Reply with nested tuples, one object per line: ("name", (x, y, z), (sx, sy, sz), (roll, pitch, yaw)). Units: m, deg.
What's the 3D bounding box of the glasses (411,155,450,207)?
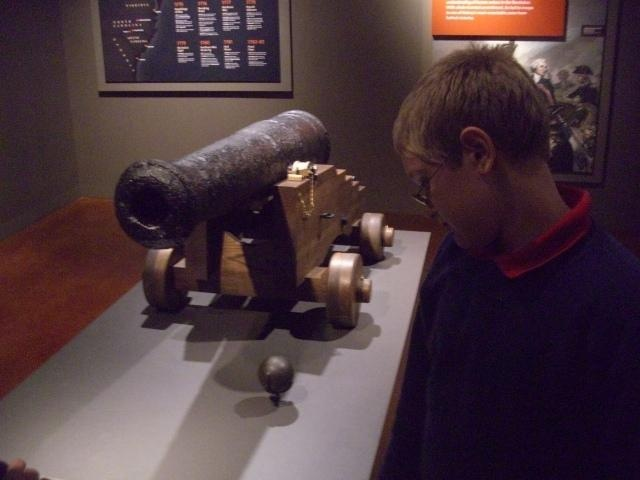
("glasses", (0.282, -0.155, 1.276), (0.027, 0.104, 0.094), (10, -7, 6))
